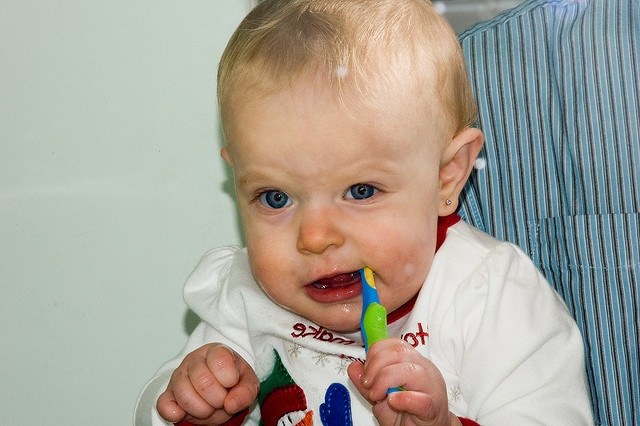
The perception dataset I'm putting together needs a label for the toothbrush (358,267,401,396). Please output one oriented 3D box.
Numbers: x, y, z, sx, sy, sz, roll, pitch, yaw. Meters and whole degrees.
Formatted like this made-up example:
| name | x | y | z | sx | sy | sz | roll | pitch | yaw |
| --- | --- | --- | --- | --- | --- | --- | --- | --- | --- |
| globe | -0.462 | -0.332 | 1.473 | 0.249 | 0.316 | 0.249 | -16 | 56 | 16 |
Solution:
| name | x | y | z | sx | sy | sz | roll | pitch | yaw |
| --- | --- | --- | --- | --- | --- | --- | --- | --- | --- |
| toothbrush | 0.098 | 0.167 | 1.198 | 0.038 | 0.170 | 0.036 | -10 | 28 | 8 |
